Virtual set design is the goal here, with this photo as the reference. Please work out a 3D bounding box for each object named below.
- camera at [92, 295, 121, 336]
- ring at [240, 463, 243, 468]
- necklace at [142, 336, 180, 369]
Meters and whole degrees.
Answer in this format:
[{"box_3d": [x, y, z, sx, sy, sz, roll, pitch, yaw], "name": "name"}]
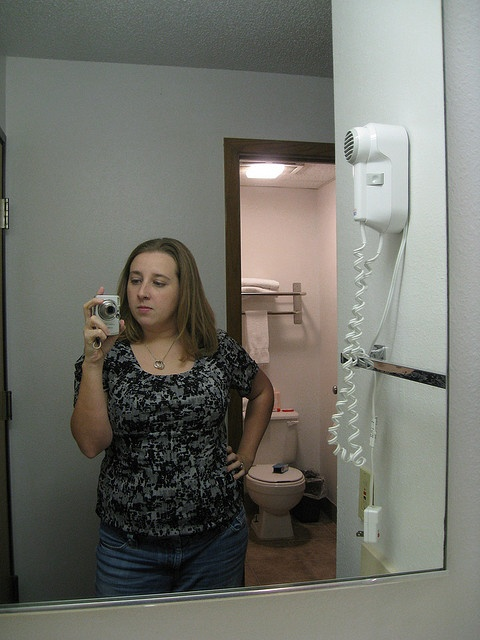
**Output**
[{"box_3d": [-0.213, -0.009, 0.901, 0.040, 0.067, 0.037, -3, 10, -34], "name": "camera"}, {"box_3d": [0.003, 0.231, 0.899, 0.004, 0.005, 0.002, 5, -16, -39], "name": "ring"}, {"box_3d": [-0.127, 0.053, 0.893, 0.058, 0.007, 0.065, 3, 49, -6], "name": "necklace"}]
